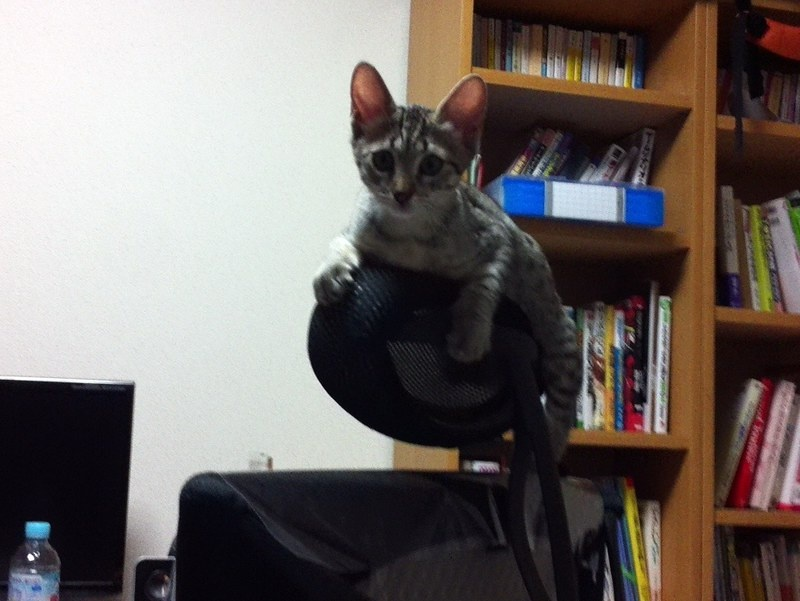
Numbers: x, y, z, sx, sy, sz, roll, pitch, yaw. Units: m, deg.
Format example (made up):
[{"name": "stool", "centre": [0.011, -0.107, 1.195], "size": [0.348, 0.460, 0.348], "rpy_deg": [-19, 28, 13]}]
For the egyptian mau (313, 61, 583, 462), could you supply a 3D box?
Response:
[{"name": "egyptian mau", "centre": [0.134, -0.068, 1.223], "size": [0.178, 0.395, 0.524], "rpy_deg": [12, -2, 37]}]

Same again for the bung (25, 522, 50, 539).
[{"name": "bung", "centre": [-0.837, 0.530, 1.839], "size": [0.056, 0.040, 0.058], "rpy_deg": [5, -8, -27]}]
